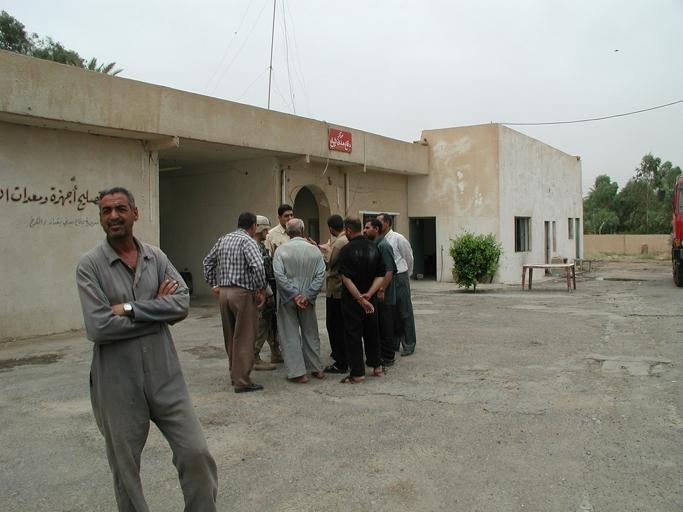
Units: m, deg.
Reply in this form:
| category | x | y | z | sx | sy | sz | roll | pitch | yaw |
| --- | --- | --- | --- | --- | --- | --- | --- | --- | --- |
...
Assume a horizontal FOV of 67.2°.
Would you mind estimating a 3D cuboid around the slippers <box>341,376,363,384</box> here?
| category | x | y | z | sx | sy | sz | roll | pitch | yaw |
| --- | --- | --- | --- | --- | --- | --- | --- | --- | --- |
| slippers | 0.135 | 1.555 | 6.465 | 0.226 | 0.071 | 0.113 | 2 | -4 | -13 |

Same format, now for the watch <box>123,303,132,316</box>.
| category | x | y | z | sx | sy | sz | roll | pitch | yaw |
| --- | --- | --- | --- | --- | --- | --- | --- | --- | --- |
| watch | -1.394 | 0.340 | 3.339 | 0.046 | 0.072 | 0.074 | 5 | 26 | 3 |

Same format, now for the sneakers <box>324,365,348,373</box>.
| category | x | y | z | sx | sy | sz | roll | pitch | yaw |
| --- | --- | --- | --- | --- | --- | --- | --- | --- | --- |
| sneakers | -0.080 | 1.528 | 6.946 | 0.308 | 0.155 | 0.124 | 6 | -5 | 1 |
